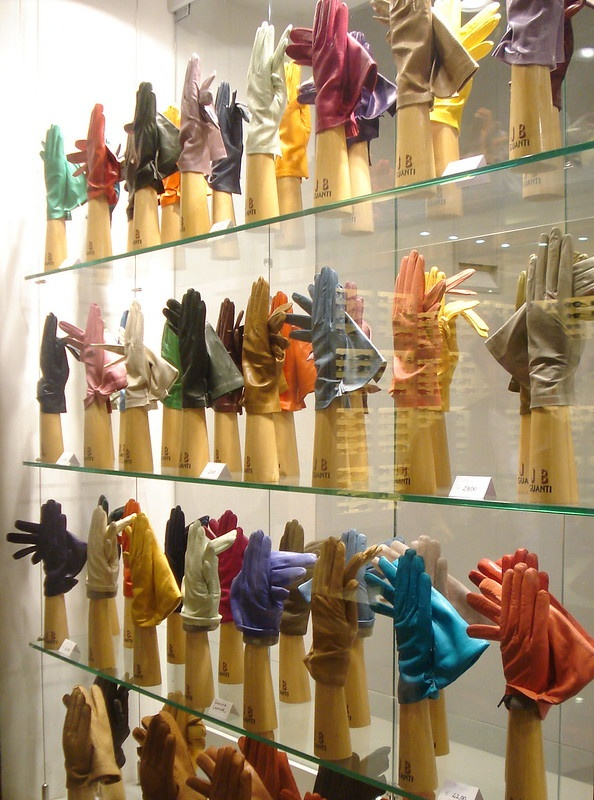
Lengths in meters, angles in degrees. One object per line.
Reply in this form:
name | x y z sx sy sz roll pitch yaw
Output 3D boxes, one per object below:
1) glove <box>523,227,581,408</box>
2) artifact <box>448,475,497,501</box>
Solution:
glove | 0.282 -0.083 0.792 0.060 0.192 0.038 -3 -4 34
artifact | 0.216 0.112 0.881 0.058 0.028 0.055 -5 -5 29
